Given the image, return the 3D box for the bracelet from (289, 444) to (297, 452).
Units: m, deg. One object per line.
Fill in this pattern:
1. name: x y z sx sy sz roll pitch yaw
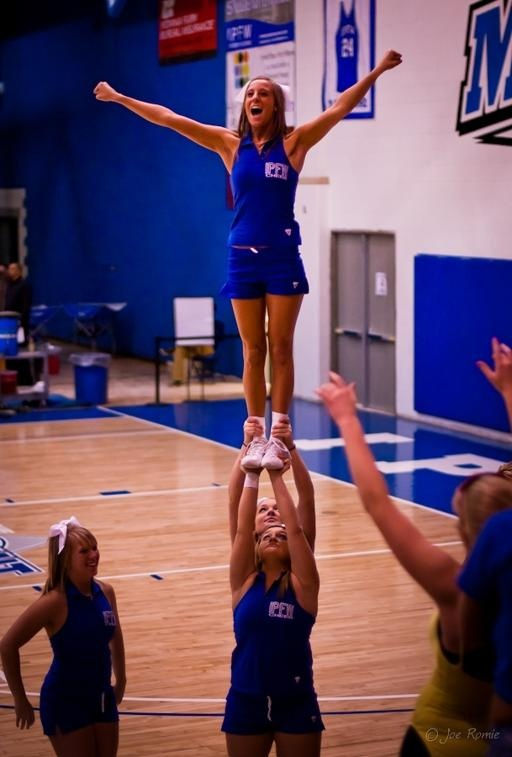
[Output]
1. bracelet: 0.131 0.252 3.162 0.031 0.016 0.037 -5 -2 -24

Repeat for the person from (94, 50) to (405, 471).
1. person: 0.030 -0.513 3.572 0.551 1.330 0.774 -5 8 -40

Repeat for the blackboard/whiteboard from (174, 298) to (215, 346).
1. blackboard/whiteboard: -1.068 -0.994 14.935 0.686 0.090 0.964 -2 49 -4
